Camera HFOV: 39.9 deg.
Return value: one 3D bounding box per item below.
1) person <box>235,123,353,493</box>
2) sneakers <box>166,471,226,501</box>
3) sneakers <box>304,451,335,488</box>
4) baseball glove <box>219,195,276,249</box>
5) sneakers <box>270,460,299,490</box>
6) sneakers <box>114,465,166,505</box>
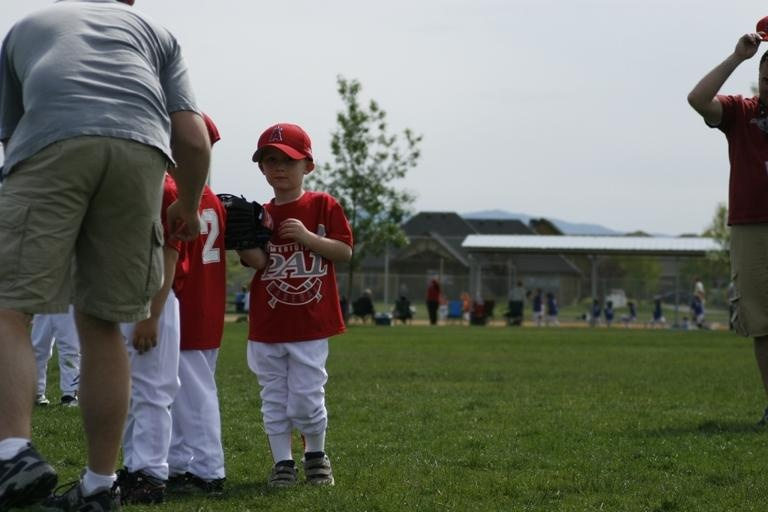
[{"bbox_3d":[-0.439,0.211,5.211,0.553,1.772,0.374,0,-8,-1],"label":"person"},{"bbox_3d":[-0.881,1.071,4.937,0.288,0.134,0.109,8,-12,12],"label":"sneakers"},{"bbox_3d":[-0.308,1.008,5.045,0.147,0.145,0.312,1,-8,-4],"label":"sneakers"},{"bbox_3d":[-0.671,-0.146,5.097,0.330,0.159,0.262,3,-4,8],"label":"baseball glove"},{"bbox_3d":[-0.477,1.024,5.002,0.128,0.119,0.178,1,-8,-5],"label":"sneakers"},{"bbox_3d":[-1.089,1.039,4.749,0.267,0.119,0.097,7,-12,-13],"label":"sneakers"}]
